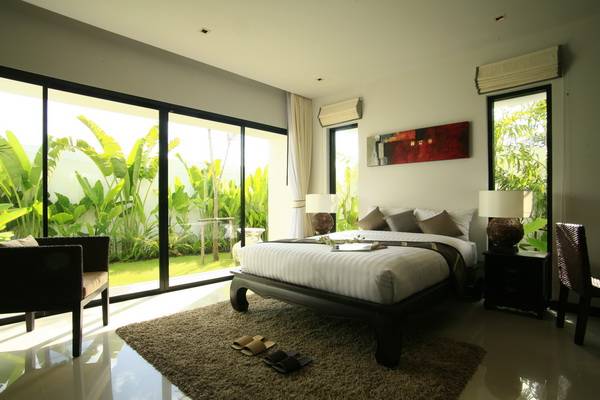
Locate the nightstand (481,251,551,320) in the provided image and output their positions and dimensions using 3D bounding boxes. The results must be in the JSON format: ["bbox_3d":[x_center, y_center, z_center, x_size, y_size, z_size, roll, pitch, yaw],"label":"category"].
[{"bbox_3d":[2.950,1.094,5.190,0.572,0.741,0.733,-2,1,-41],"label":"nightstand"}]

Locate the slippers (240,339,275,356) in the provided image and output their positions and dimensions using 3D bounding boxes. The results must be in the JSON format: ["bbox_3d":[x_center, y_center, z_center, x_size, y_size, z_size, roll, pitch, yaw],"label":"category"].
[{"bbox_3d":[-0.429,1.593,4.176,0.159,0.059,0.261,-4,-7,33],"label":"slippers"}]

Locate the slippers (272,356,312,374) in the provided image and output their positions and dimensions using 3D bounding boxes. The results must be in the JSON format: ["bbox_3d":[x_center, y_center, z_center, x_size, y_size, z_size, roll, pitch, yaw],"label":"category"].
[{"bbox_3d":[-0.071,1.663,3.936,0.395,0.128,0.178,-2,1,-30],"label":"slippers"}]

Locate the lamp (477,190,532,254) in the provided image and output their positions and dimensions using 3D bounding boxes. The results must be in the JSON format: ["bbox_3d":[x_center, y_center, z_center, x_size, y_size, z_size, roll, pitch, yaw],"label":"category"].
[{"bbox_3d":[2.700,0.301,5.444,0.790,0.985,0.800,0,-4,13],"label":"lamp"}]

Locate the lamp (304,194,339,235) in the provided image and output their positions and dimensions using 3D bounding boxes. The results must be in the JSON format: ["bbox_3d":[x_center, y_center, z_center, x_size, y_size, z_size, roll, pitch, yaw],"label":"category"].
[{"bbox_3d":[0.421,0.260,7.010,0.666,1.001,0.698,-1,0,14],"label":"lamp"}]
